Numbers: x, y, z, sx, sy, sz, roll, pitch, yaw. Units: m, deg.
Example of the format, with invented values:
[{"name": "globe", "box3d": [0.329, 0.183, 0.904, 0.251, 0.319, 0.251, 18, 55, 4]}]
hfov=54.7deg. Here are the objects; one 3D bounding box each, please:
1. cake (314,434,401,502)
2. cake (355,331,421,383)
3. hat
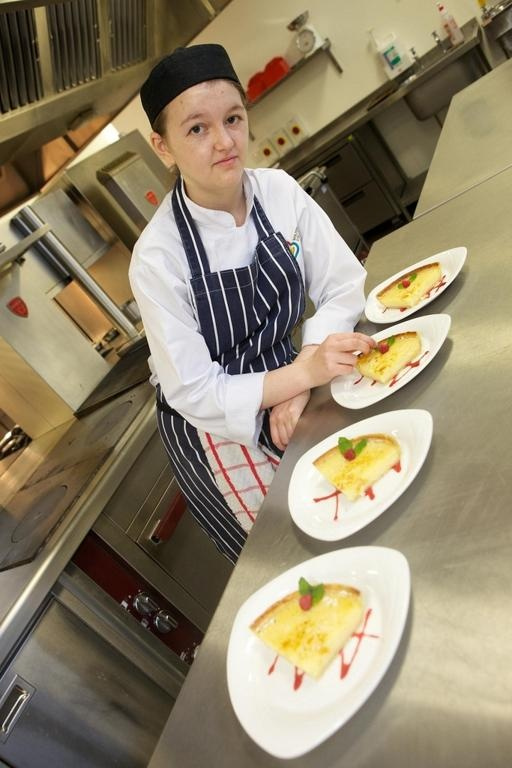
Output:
[{"name": "cake", "box3d": [0.133, 0.103, 0.645, 0.090, 0.030, 0.080, -33, 36, -8]}, {"name": "cake", "box3d": [0.227, -0.048, 0.832, 0.094, 0.030, 0.078, -38, 29, -8]}, {"name": "hat", "box3d": [-0.120, -0.548, 0.982, 0.172, 0.108, 0.171, -34, 11, 8]}]
